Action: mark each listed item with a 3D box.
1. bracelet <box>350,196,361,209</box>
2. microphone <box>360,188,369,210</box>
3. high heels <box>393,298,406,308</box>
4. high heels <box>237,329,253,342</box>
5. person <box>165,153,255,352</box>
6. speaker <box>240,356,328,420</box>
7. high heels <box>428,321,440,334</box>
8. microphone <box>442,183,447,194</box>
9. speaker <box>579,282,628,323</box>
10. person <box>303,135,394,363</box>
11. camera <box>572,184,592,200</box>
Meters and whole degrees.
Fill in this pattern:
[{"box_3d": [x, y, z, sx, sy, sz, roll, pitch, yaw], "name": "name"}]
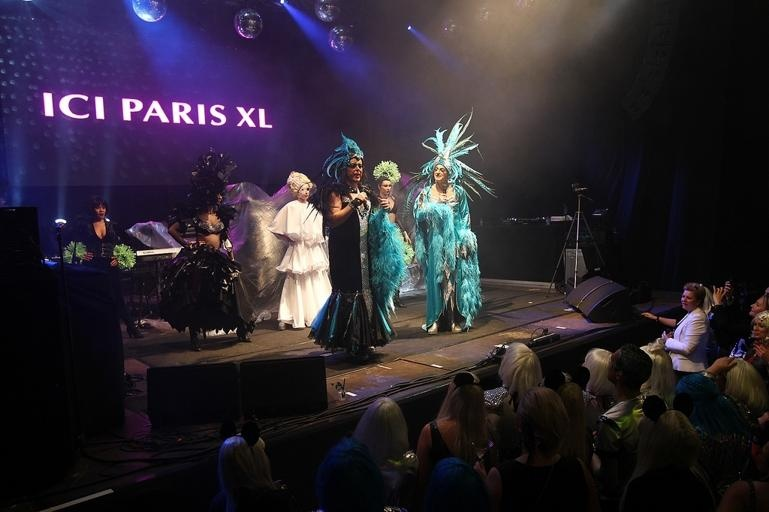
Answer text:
[{"box_3d": [-0.328, -0.608, 5.910, 0.096, 0.093, 0.097, 8, 13, 27], "name": "bracelet"}, {"box_3d": [-0.217, -0.652, 6.019, 0.058, 0.171, 0.130, -10, 21, -2], "name": "microphone"}, {"box_3d": [0.269, 0.839, 9.268, 0.164, 0.208, 0.214, -6, 17, 8], "name": "high heels"}, {"box_3d": [-1.931, 1.102, 7.116, 0.107, 0.141, 0.318, 2, -10, -25], "name": "high heels"}, {"box_3d": [-2.419, -0.098, 6.932, 1.130, 2.424, 0.325, -3, 0, -15], "name": "person"}, {"box_3d": [-0.942, 1.198, 4.752, 0.947, 0.519, 0.676, 2, -2, -7], "name": "speaker"}, {"box_3d": [0.710, 1.038, 7.500, 0.156, 0.170, 0.378, -2, -3, 10], "name": "high heels"}, {"box_3d": [0.884, -0.996, 7.662, 0.025, 0.097, 0.069, 12, 11, 23], "name": "microphone"}, {"box_3d": [3.287, 0.656, 7.708, 0.512, 0.461, 0.645, 3, -2, 2], "name": "speaker"}, {"box_3d": [-0.433, -0.129, 6.071, 0.891, 2.487, 0.325, -3, 0, 1], "name": "person"}, {"box_3d": [3.932, -1.291, 10.241, 0.209, 0.372, 0.371, -22, -17, 16], "name": "camera"}]
